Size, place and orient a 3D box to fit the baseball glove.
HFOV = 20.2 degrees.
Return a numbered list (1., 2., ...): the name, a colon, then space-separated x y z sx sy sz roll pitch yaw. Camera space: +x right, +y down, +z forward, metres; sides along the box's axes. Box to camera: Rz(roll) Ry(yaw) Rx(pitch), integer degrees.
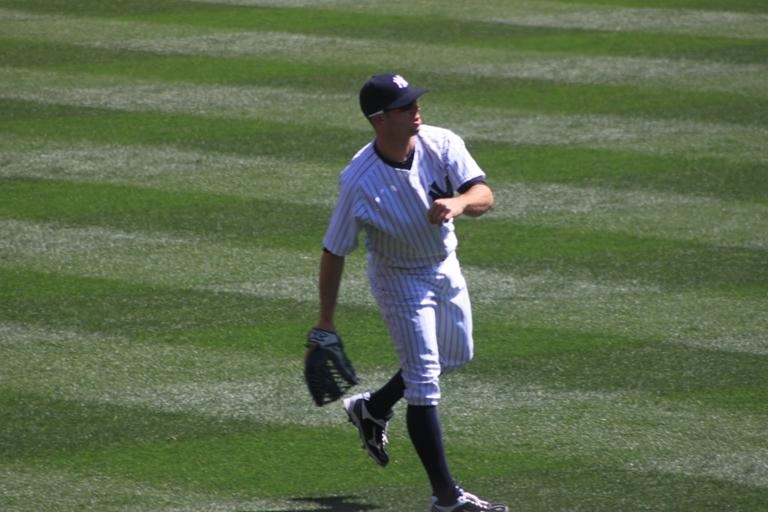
1. baseball glove: -0.517 0.951 18.836 0.503 0.634 0.355 -9 14 21
